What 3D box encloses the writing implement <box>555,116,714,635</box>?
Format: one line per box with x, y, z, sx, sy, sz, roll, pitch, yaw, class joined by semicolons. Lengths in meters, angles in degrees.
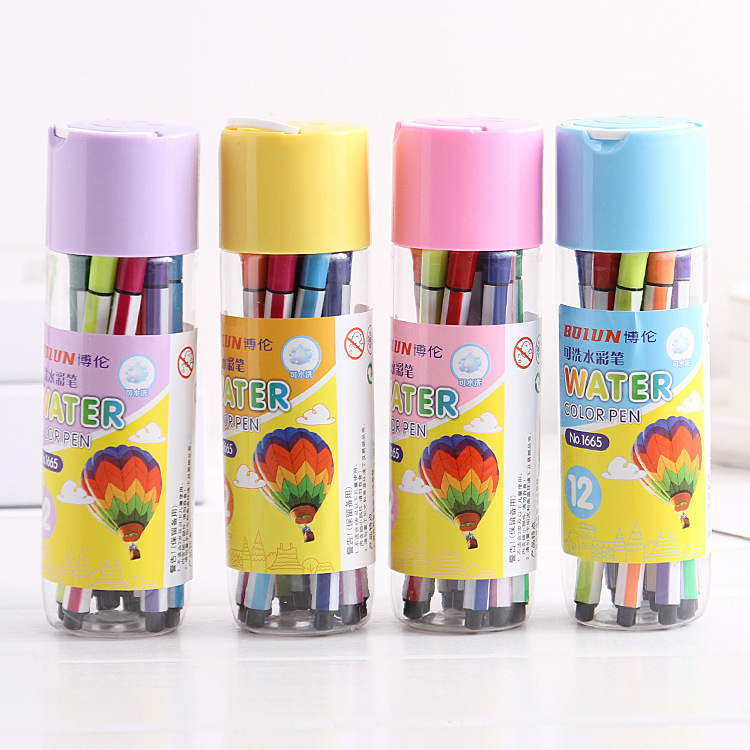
0.111;0.001;0.421;0.069;0.225;0.047;2;7;17;writing implement

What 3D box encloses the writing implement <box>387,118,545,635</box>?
0.038;0.004;0.422;0.066;0.221;0.048;0;6;5;writing implement

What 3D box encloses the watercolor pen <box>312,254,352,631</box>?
-0.025;0.032;0.410;0.026;0.140;0.022;-2;5;-8;watercolor pen
